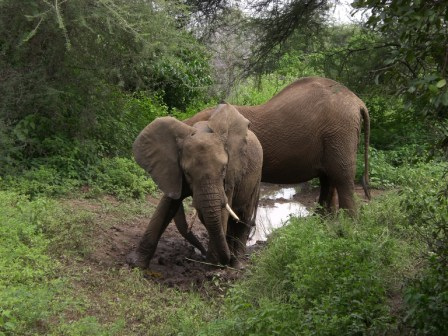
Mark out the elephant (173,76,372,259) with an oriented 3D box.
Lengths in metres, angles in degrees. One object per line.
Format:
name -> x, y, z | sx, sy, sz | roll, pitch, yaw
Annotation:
elephant -> 1.405, -0.473, 10.207 | 5.213, 3.559, 2.040 | -3, 1, -2

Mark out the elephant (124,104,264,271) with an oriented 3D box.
elephant -> -0.549, 0.279, 8.205 | 1.800, 2.906, 3.822 | 5, 14, 6
